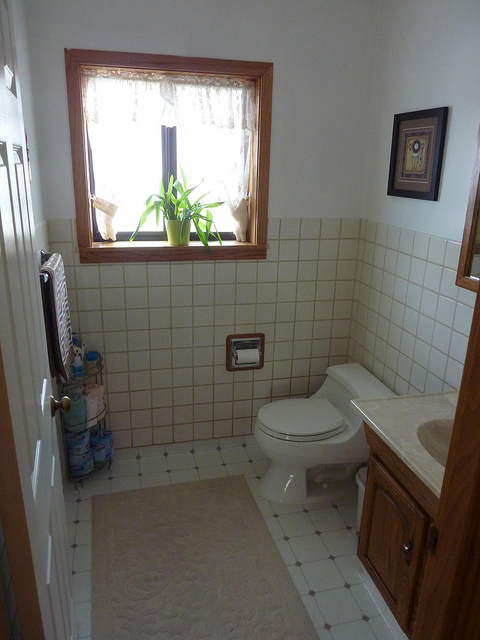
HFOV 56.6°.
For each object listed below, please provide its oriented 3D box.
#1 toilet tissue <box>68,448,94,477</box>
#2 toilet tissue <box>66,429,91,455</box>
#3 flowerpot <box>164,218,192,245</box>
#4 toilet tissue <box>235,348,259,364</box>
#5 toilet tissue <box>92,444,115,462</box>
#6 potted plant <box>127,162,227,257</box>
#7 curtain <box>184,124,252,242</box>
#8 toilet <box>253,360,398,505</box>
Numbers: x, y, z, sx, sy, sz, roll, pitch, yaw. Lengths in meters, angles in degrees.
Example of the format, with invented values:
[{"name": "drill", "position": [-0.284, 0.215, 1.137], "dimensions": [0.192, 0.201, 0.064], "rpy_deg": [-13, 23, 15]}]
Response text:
[{"name": "toilet tissue", "position": [-0.811, 0.730, 2.265], "dimensions": [0.088, 0.138, 0.106], "rpy_deg": [-5, 17, -11]}, {"name": "toilet tissue", "position": [-0.810, 0.616, 2.228], "dimensions": [0.091, 0.133, 0.100], "rpy_deg": [-3, 4, -36]}, {"name": "flowerpot", "position": [-0.321, -0.453, 2.301], "dimensions": [0.091, 0.122, 0.128], "rpy_deg": [0, 11, -2]}, {"name": "toilet tissue", "position": [0.043, 0.204, 2.475], "dimensions": [0.103, 0.077, 0.054], "rpy_deg": [-6, -13, -5]}, {"name": "toilet tissue", "position": [-0.740, 0.703, 2.387], "dimensions": [0.057, 0.063, 0.073], "rpy_deg": [5, 23, 3]}, {"name": "potted plant", "position": [-0.317, -0.573, 2.392], "dimensions": [0.266, 0.504, 0.518], "rpy_deg": [-1, -1, 8]}, {"name": "curtain", "position": [-0.117, -0.713, 2.383], "dimensions": [0.340, 0.586, 0.149], "rpy_deg": [0, 10, -8]}, {"name": "toilet", "position": [0.411, 0.494, 2.299], "dimensions": [0.543, 0.659, 0.570], "rpy_deg": [-3, 19, -9]}]
